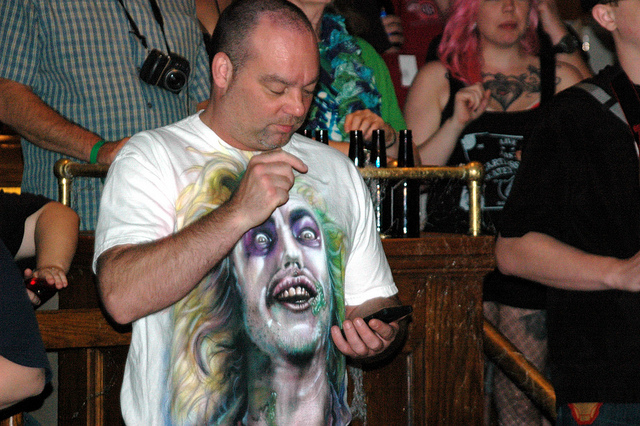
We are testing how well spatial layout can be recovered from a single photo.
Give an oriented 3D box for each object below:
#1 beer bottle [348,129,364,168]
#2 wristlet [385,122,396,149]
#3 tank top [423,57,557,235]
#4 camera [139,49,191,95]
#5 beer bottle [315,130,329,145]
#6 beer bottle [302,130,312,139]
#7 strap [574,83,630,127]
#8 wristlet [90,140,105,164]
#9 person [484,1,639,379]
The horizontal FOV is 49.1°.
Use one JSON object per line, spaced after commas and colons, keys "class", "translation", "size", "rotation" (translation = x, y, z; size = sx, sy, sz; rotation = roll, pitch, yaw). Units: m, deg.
{"class": "beer bottle", "translation": [0.185, -0.333, 3.528], "size": [0.075, 0.183, 0.118], "rotation": [-2, 7, 3]}
{"class": "wristlet", "translation": [0.380, -0.402, 3.752], "size": [0.024, 0.118, 0.110], "rotation": [-2, -25, 22]}
{"class": "tank top", "translation": [1.013, -0.424, 4.350], "size": [0.908, 1.063, 0.469], "rotation": [-7, 9, -33]}
{"class": "camera", "translation": [-0.794, -0.740, 3.658], "size": [0.225, 0.187, 0.116], "rotation": [23, -3, -24]}
{"class": "beer bottle", "translation": [0.015, -0.402, 3.651], "size": [0.068, 0.123, 0.071], "rotation": [-1, 7, 0]}
{"class": "beer bottle", "translation": [-0.065, -0.419, 3.662], "size": [0.054, 0.062, 0.107], "rotation": [-1, -1, -1]}
{"class": "strap", "translation": [1.335, -0.549, 3.418], "size": [0.226, 0.092, 0.319], "rotation": [41, 11, 30]}
{"class": "wristlet", "translation": [-1.047, -0.293, 3.294], "size": [0.069, 0.102, 0.050], "rotation": [-5, 8, -21]}
{"class": "person", "translation": [1.260, -0.135, 3.290], "size": [0.713, 1.745, 0.555], "rotation": [-5, 8, -24]}
